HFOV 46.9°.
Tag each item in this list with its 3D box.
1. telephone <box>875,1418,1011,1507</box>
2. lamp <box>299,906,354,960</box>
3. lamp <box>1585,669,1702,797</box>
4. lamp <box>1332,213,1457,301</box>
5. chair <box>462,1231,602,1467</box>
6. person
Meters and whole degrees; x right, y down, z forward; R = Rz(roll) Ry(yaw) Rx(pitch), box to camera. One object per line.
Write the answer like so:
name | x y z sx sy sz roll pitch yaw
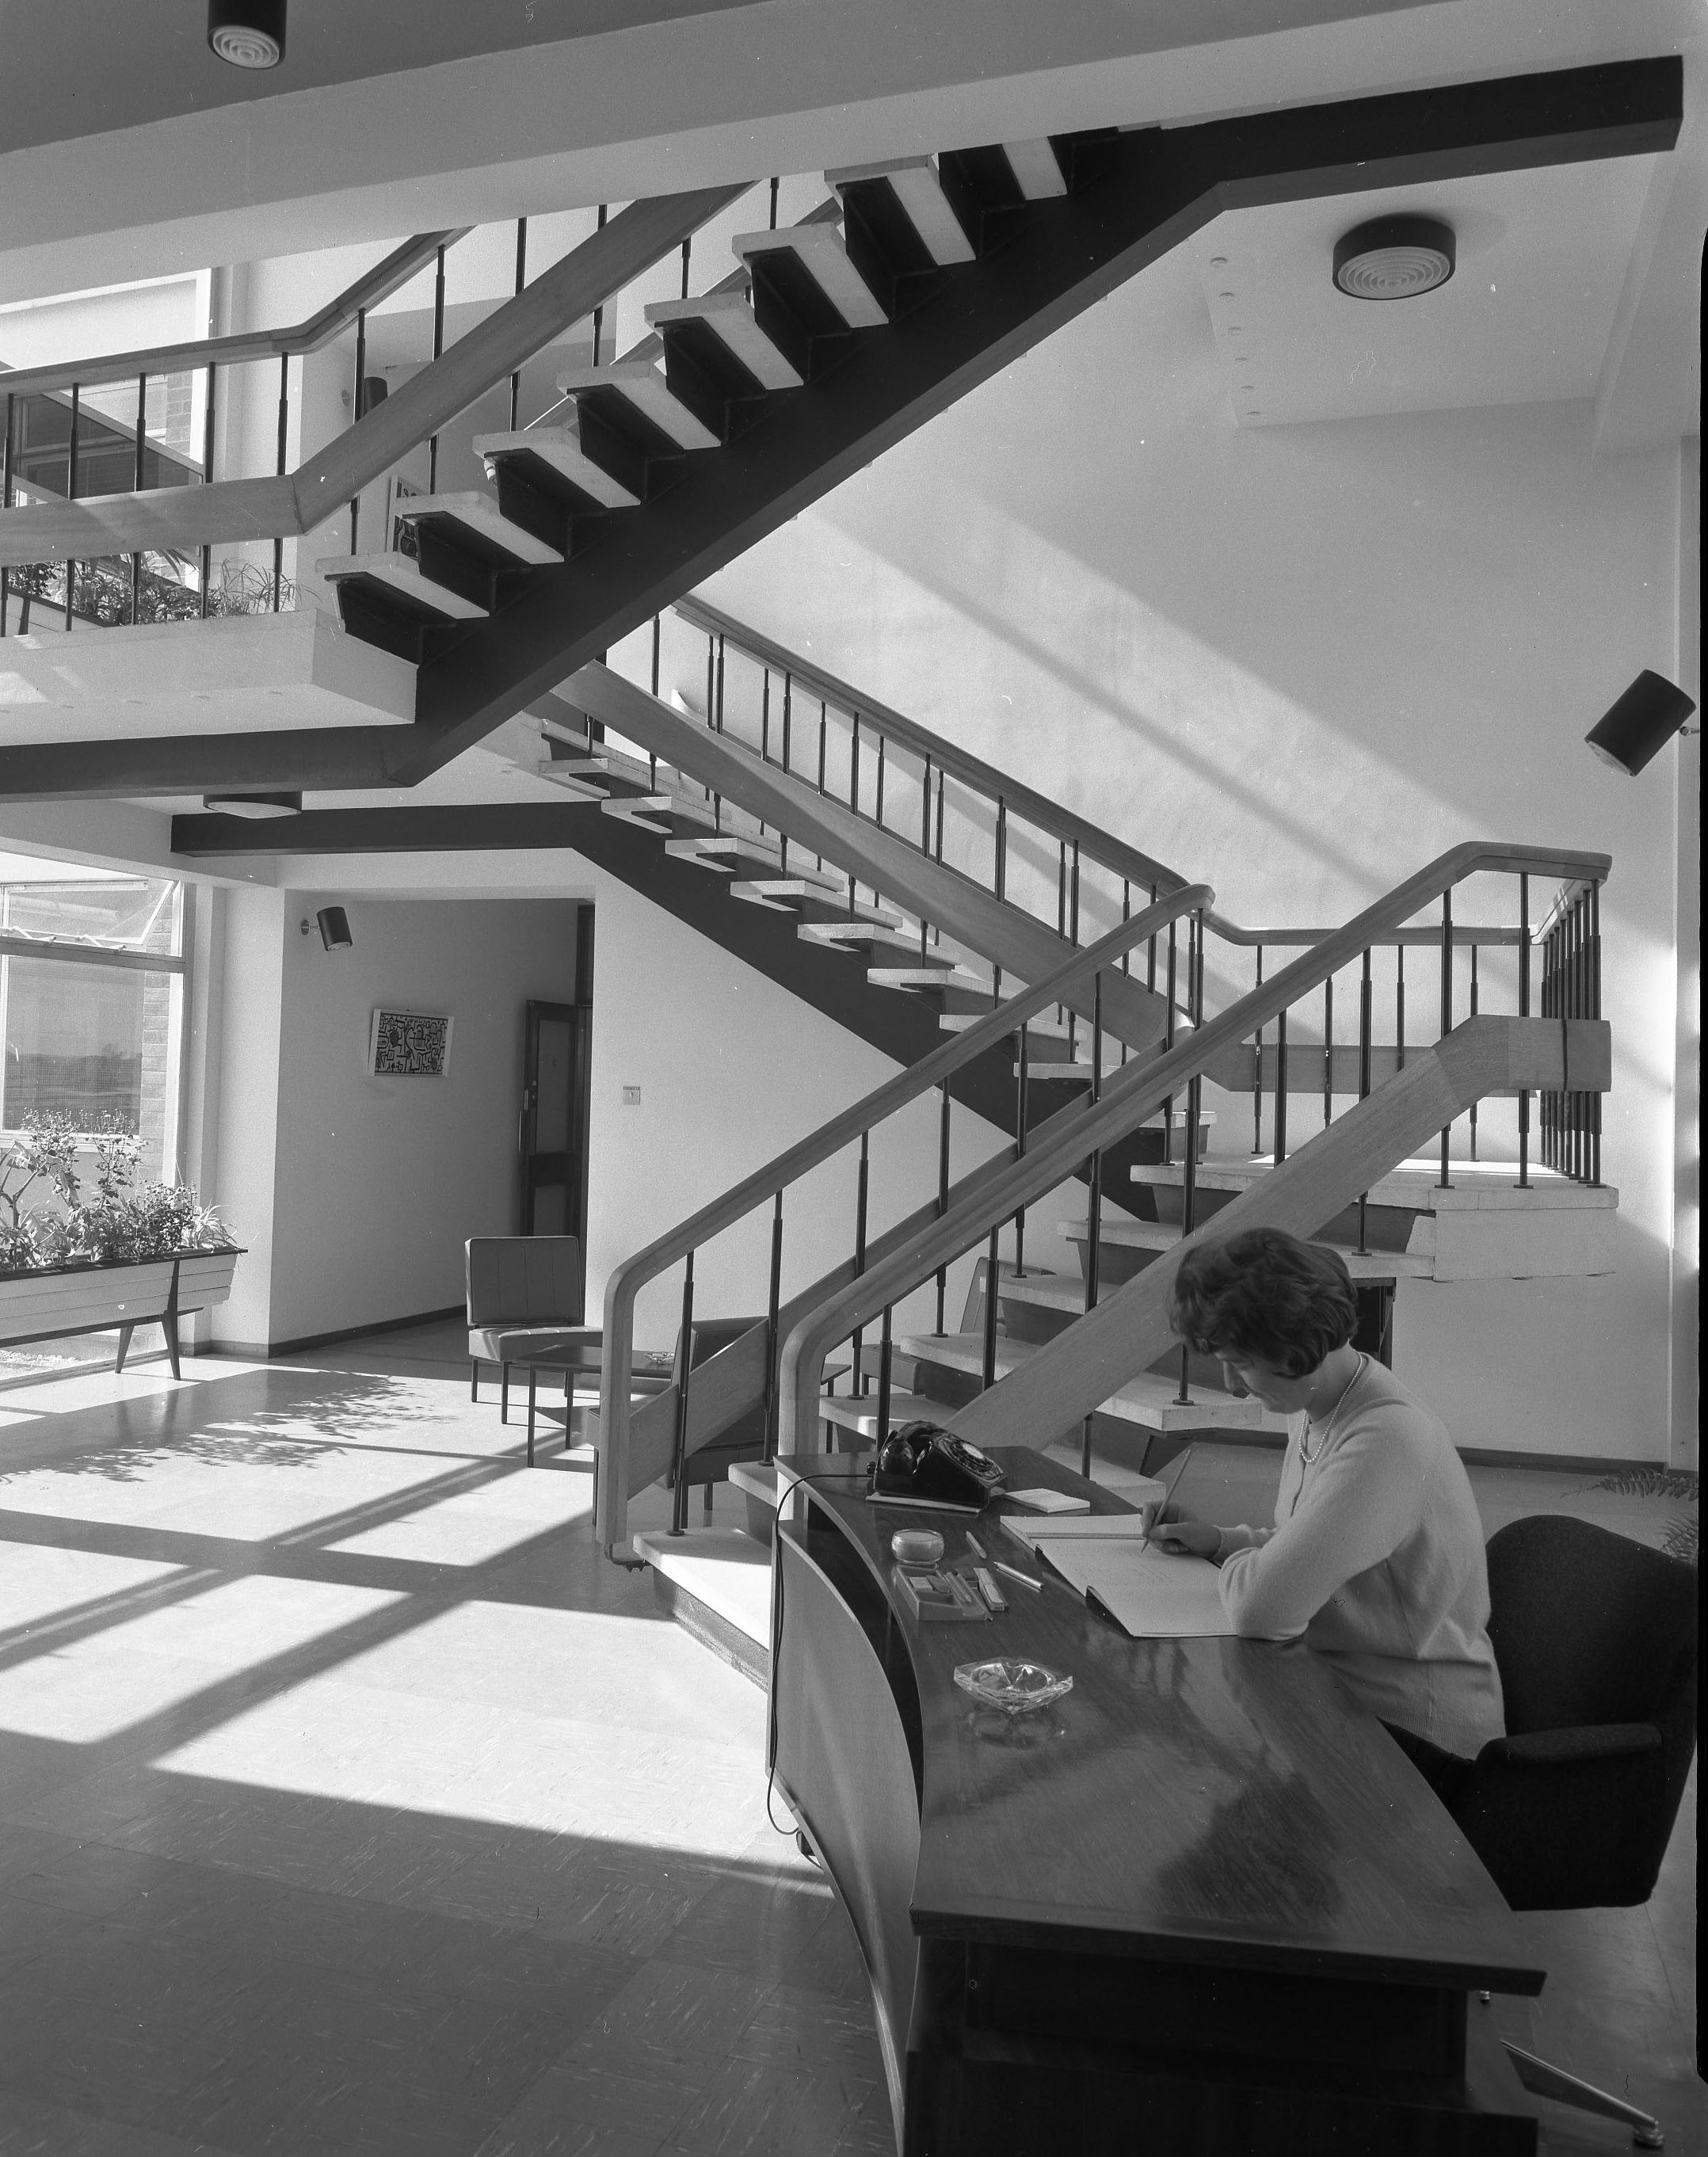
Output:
telephone | 0.139 0.637 3.242 0.147 0.073 0.110 12 7 40
lamp | -2.595 -0.733 9.713 0.197 0.210 0.208 -2 2 13
lamp | 1.936 -0.895 4.852 0.171 0.278 0.387 0 0 34
lamp | 1.708 -2.624 6.285 0.368 0.164 0.416 1 1 32
chair | -1.285 1.065 7.958 0.568 0.877 0.617 0 -4 0
person | 0.672 0.693 2.748 0.403 0.929 0.396 -7 -3 -14
